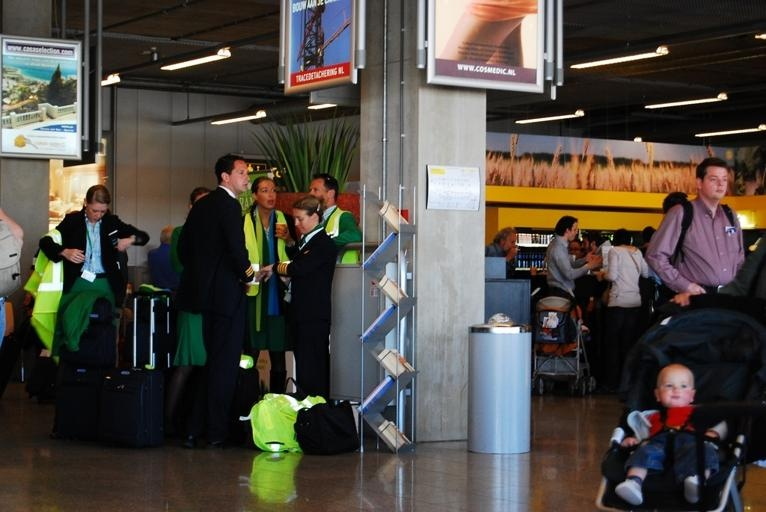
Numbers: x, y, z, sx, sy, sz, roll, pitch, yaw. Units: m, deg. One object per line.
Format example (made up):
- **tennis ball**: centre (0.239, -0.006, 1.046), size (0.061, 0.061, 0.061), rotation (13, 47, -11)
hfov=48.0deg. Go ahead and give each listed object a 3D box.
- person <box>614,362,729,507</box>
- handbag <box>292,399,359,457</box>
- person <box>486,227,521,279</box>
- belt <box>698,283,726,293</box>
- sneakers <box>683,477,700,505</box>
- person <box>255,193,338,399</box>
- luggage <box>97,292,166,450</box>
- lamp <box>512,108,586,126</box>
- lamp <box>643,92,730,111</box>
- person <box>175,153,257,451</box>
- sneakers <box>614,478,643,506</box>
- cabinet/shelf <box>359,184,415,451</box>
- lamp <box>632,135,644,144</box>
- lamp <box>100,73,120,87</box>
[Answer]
- **person**: centre (1.823, 1.115, 5.446), size (0.483, 0.474, 0.891), rotation (-1, 10, 18)
- **handbag**: centre (-0.476, 1.487, 7.420), size (0.437, 0.448, 0.433), rotation (11, -17, -42)
- **person**: centre (1.698, 0.033, 12.352), size (0.456, 0.911, 0.455), rotation (-11, 19, -26)
- **belt**: centre (2.636, 0.262, 6.919), size (0.136, 0.139, 0.146), rotation (4, -6, -16)
- **sneakers**: centre (1.812, 1.376, 5.066), size (0.055, 0.182, 0.123), rotation (-3, 10, 21)
- **person**: centre (-0.667, 0.387, 7.976), size (0.533, 1.745, 0.537), rotation (0, 0, -27)
- **luggage**: centre (-2.225, 1.017, 7.739), size (0.570, 1.376, 0.646), rotation (0, 0, -15)
- **lamp**: centre (3.655, -3.096, 19.279), size (1.940, 0.225, 0.321), rotation (-3, 28, -15)
- **lamp**: centre (7.013, -3.502, 19.718), size (1.854, 0.248, 0.956), rotation (1, 0, 43)
- **person**: centre (-1.478, 0.378, 7.710), size (0.640, 2.498, 0.411), rotation (0, 0, -15)
- **sneakers**: centre (1.487, 1.420, 5.192), size (0.172, 0.122, 0.123), rotation (0, 0, 2)
- **cabinet/shelf**: centre (0.053, 0.568, 7.651), size (0.495, 2.051, 0.555), rotation (0, 0, 1)
- **lamp**: centre (5.736, -2.633, 19.482), size (0.213, 0.224, 0.117), rotation (4, -20, -16)
- **lamp**: centre (-5.641, -3.743, 18.017), size (0.337, 0.289, 1.004), rotation (0, 0, -20)
